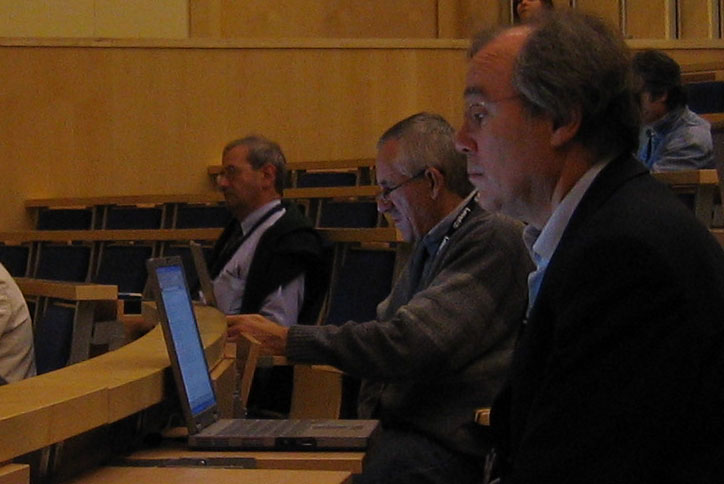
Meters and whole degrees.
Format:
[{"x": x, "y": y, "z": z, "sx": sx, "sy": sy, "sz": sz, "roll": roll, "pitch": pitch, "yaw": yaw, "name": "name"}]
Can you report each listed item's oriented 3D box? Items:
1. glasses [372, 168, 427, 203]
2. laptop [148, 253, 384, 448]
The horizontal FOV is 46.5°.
[{"x": 0.083, "y": -0.122, "z": 1.816, "sx": 0.068, "sy": 0.020, "sz": 0.067, "roll": -40, "pitch": -4, "yaw": 8, "name": "glasses"}, {"x": -0.178, "y": 0.168, "z": 1.476, "sx": 0.326, "sy": 0.303, "sz": 0.313, "roll": -1, "pitch": -3, "yaw": -3, "name": "laptop"}]
